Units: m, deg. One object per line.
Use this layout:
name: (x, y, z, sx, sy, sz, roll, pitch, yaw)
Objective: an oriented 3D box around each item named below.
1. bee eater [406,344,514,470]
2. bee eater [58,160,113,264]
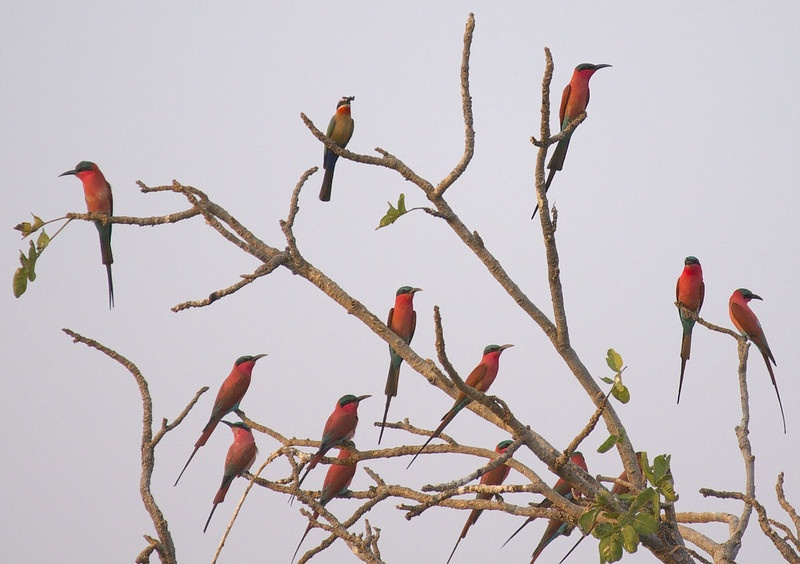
bee eater: (0.509, 0.719, 8.108, 0.741, 0.343, 0.175, -30, -31, 36)
bee eater: (-2.485, -0.474, 9.118, 0.197, 0.516, 1.060, 3, -83, 34)
